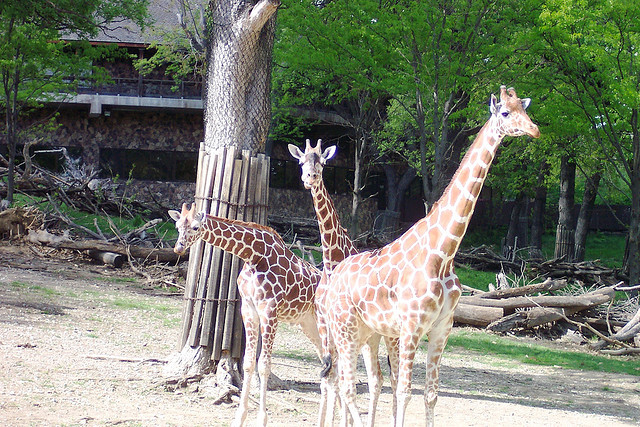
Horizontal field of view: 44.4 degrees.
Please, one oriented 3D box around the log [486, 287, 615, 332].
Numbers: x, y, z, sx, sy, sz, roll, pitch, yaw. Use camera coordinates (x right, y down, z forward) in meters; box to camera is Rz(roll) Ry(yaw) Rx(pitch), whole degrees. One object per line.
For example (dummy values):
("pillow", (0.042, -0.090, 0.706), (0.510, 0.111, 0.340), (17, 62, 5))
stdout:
("log", (6.964, 2.999, 23.924), (3.957, 0.584, 0.802), (-15, 2, -5))
